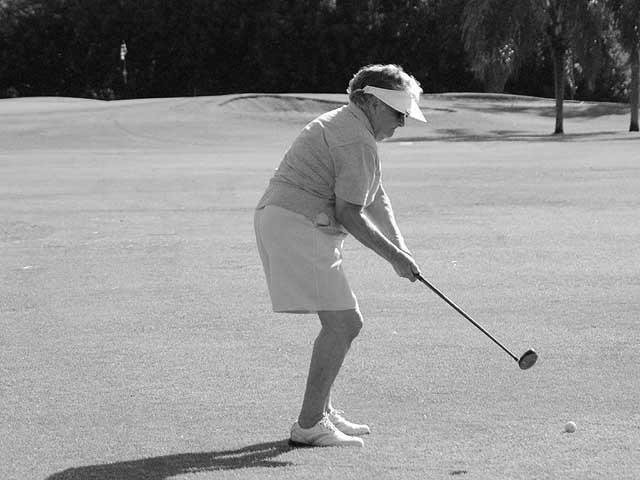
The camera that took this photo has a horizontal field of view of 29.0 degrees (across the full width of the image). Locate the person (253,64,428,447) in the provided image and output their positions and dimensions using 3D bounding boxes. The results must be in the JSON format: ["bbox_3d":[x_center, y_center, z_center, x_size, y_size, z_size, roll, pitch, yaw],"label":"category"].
[{"bbox_3d":[0.116,0.096,8.999,1.159,2.667,0.705,-2,13,-8],"label":"person"}]

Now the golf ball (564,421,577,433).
[{"bbox_3d":[1.861,1.368,9.186,0.092,0.054,0.130,2,14,11],"label":"golf ball"}]
